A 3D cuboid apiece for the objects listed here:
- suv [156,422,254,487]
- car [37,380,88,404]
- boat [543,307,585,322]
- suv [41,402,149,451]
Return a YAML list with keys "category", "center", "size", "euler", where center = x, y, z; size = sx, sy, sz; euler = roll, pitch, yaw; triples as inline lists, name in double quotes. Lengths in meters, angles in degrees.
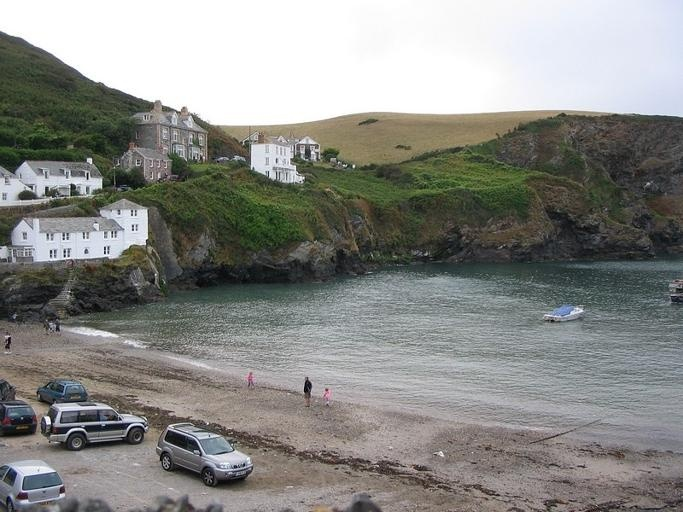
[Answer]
- category: "suv"
  center: [-9.711, 14.245, 58.570]
  size: [6.817, 2.696, 3.361]
  euler: [7, 8, 34]
- category: "car"
  center: [-22.706, 11.201, 66.363]
  size: [4.408, 1.941, 1.882]
  euler: [10, 14, 32]
- category: "boat"
  center: [29.029, 7.390, 104.466]
  size: [5.969, 1.378, 2.065]
  euler: [-7, 14, -41]
- category: "suv"
  center: [-18.813, 12.693, 61.807]
  size: [7.222, 2.577, 3.252]
  euler: [-1, 5, -26]
